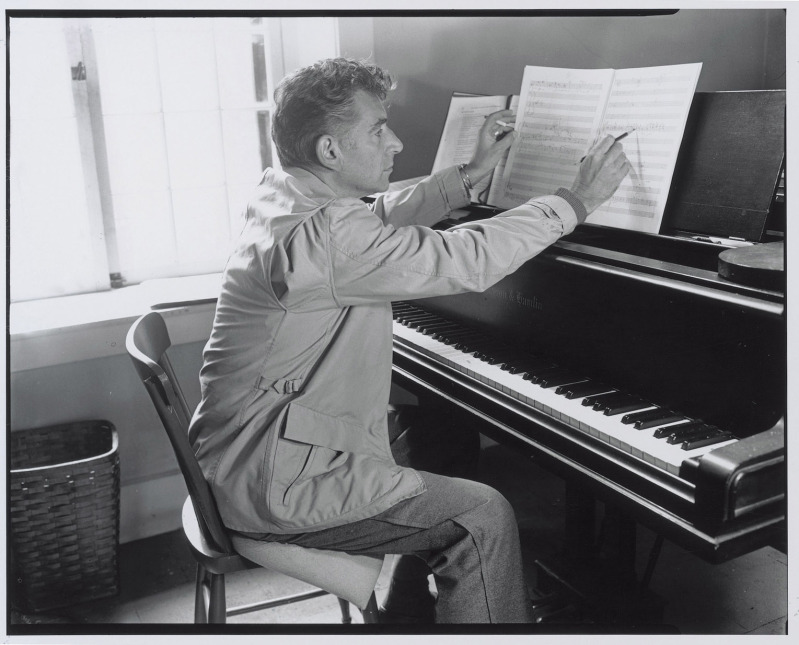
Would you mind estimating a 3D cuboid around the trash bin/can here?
[{"bbox_3d":[-1.237,0.692,2.477,0.408,0.556,0.417,-9,23,-24],"label":"trash bin/can"}]

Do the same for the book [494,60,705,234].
[{"bbox_3d":[0.519,-0.495,1.737,0.101,0.495,0.549,2,8,-41],"label":"book"}]

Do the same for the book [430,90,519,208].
[{"bbox_3d":[0.274,-0.551,2.306,0.329,0.365,0.087,14,2,38],"label":"book"}]

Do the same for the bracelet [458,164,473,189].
[{"bbox_3d":[0.202,-0.442,2.028,0.019,0.062,0.052,-13,22,9],"label":"bracelet"}]

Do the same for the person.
[{"bbox_3d":[-0.058,0.012,1.649,0.931,1.226,0.657,10,22,21],"label":"person"}]
